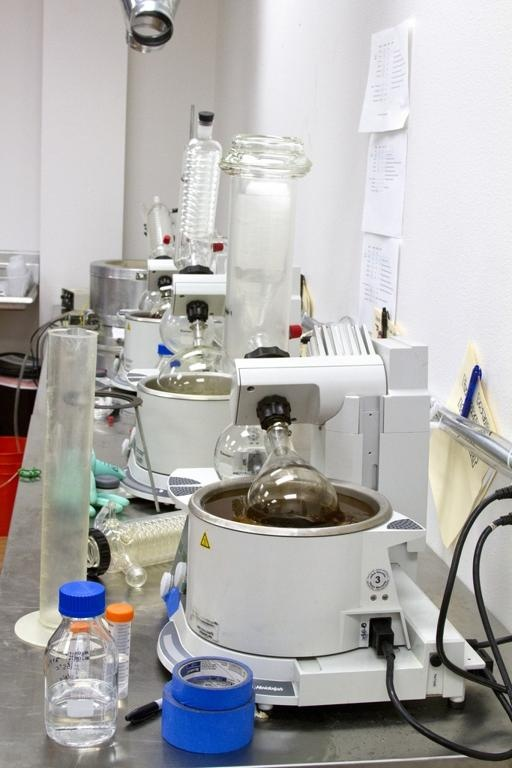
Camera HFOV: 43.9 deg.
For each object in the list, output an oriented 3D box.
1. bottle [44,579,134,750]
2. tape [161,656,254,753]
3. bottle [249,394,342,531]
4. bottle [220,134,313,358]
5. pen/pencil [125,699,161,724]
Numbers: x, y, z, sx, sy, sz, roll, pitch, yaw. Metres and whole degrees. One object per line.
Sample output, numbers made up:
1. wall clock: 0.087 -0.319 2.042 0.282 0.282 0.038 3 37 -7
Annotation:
1. bottle: -0.143 0.233 0.566 0.090 0.130 0.094 2 2 0
2. tape: -0.037 0.267 0.521 0.080 0.066 0.060 2 2 -8
3. bottle: 0.025 0.080 0.640 0.082 0.140 0.082 -5 -20 -2
4. bottle: 0.009 -0.232 1.125 0.118 0.393 0.159 -5 21 -14
5. pen/pencil: -0.101 0.295 0.570 0.006 0.008 0.030 30 21 26
